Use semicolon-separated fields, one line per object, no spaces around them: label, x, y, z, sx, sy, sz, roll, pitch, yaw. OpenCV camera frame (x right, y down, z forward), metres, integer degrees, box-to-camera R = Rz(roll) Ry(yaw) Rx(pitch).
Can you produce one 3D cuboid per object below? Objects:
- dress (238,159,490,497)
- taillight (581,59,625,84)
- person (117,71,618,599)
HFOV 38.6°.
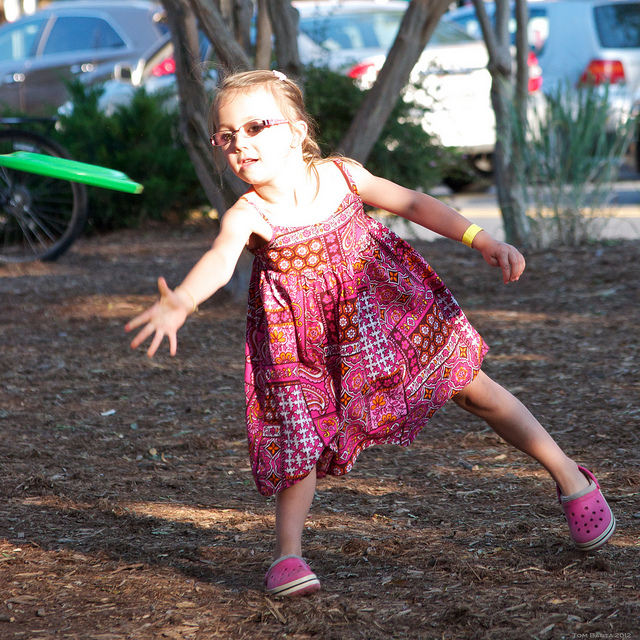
dress;0.106;0.058;2.372;0.608;0.732;0.208;-5;10;-21
taillight;2.933;-2.546;9.410;0.398;0.285;0.451;1;8;19
person;0.080;0.016;2.341;1.150;1.302;0.476;-4;9;-18
